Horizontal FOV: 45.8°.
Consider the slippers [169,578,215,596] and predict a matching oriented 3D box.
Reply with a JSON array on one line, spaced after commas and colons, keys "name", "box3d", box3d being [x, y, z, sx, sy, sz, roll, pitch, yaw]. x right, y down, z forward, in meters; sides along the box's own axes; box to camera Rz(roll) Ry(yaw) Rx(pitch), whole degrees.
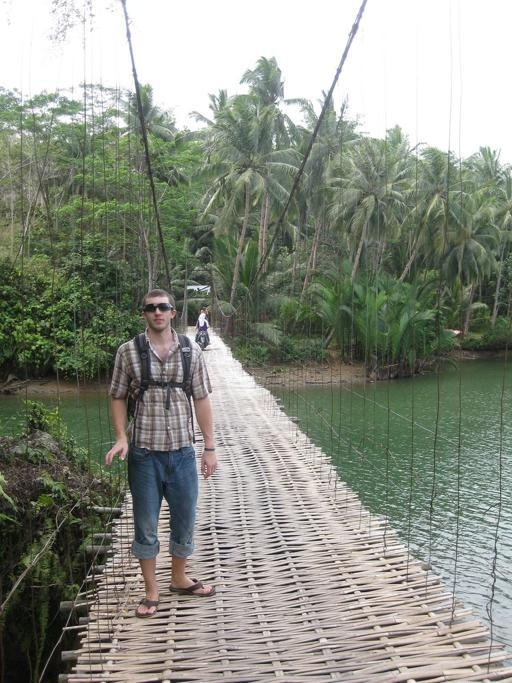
[{"name": "slippers", "box3d": [-0.244, 0.963, 2.368, 0.125, 0.044, 0.075, 0, 5, 0]}]

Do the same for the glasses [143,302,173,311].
[{"name": "glasses", "box3d": [-0.339, -0.118, 2.146, 0.101, 0.036, 0.050, 2, 3, -12]}]

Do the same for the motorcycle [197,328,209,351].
[{"name": "motorcycle", "box3d": [-1.254, -0.057, 14.771, 0.232, 0.352, 0.549, 1, 10, -2]}]

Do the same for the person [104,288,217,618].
[{"name": "person", "box3d": [-0.328, 0.405, 2.207, 0.462, 1.173, 0.211, 0, 4, -30]}]
